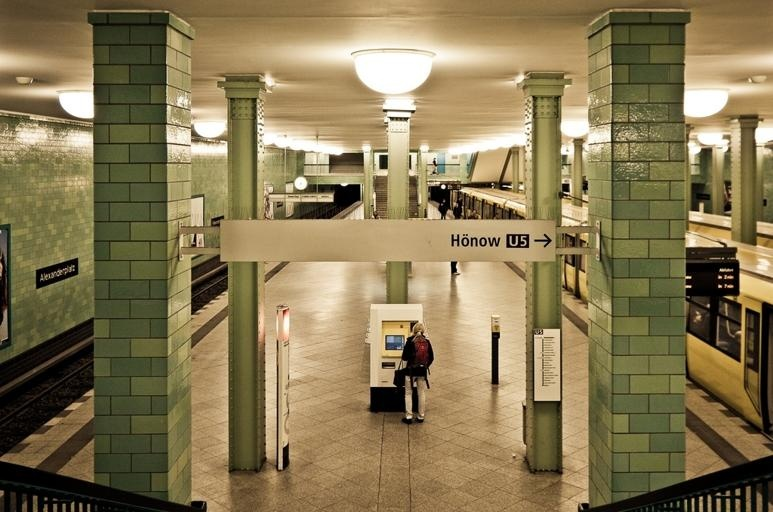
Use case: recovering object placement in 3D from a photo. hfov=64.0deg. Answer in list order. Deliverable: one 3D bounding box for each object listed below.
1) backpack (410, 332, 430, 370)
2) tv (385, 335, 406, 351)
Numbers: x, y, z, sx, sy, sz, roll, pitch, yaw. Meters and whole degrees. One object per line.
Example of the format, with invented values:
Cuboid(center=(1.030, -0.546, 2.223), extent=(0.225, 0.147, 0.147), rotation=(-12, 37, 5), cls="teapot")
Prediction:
Cuboid(center=(0.505, 1.476, 9.522), extent=(0.309, 0.444, 0.255), rotation=(7, -18, -12), cls="backpack")
Cuboid(center=(0.119, 1.381, 9.838), extent=(0.271, 0.200, 0.025), rotation=(0, -3, -3), cls="tv")
